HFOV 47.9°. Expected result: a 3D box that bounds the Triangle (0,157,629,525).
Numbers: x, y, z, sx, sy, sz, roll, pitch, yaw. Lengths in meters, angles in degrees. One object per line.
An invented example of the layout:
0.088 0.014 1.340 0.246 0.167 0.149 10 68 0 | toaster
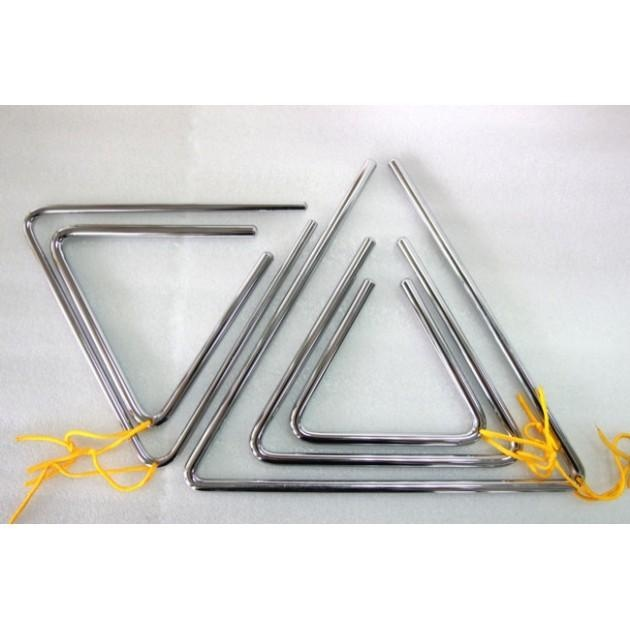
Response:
-0.294 0.138 2.313 1.408 0.813 0.174 1 -7 -1 | Triangle
